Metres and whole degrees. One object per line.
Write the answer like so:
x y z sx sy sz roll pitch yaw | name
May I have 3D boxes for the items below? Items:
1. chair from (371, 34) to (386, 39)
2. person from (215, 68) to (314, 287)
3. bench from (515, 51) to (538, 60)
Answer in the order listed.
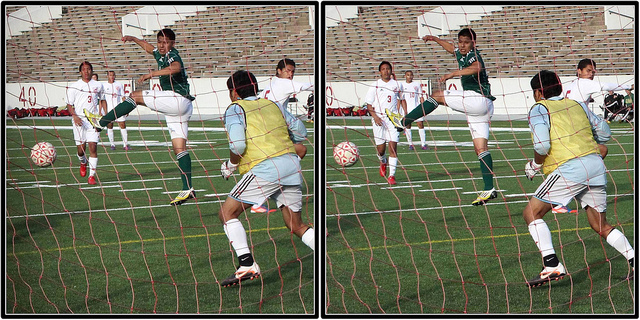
4.323 -9.112 33.884 1.511 0.225 0.365 -1 18 -31 | chair
-0.922 0.267 6.935 1.376 3.236 1.071 -6 6 -13 | person
13.462 -6.861 29.990 1.445 0.486 0.241 -5 6 -18 | bench
